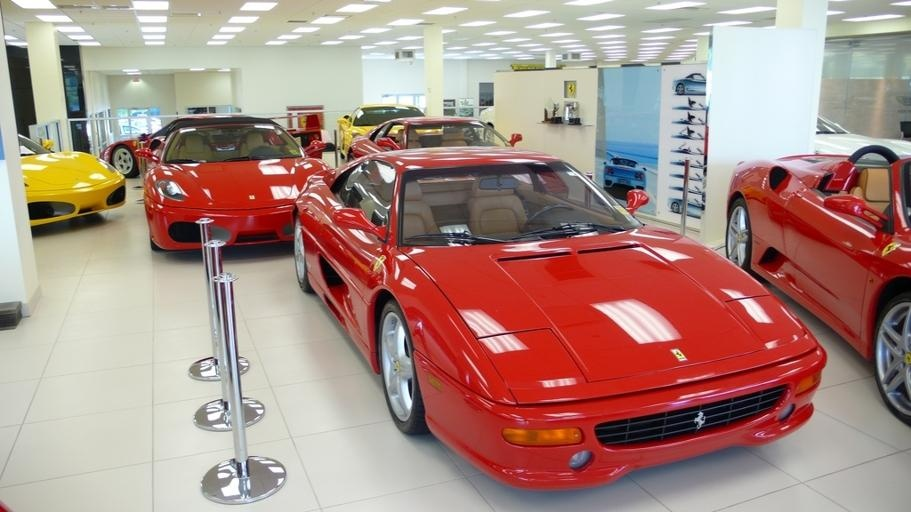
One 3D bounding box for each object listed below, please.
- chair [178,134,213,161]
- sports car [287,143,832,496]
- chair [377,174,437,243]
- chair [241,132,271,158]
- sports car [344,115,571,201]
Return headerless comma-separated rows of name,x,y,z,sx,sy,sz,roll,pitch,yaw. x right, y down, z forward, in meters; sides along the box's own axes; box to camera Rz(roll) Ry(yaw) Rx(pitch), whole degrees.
chair,-3.975,-1.672,7.418,0.440,0.519,0.481,-2,13,-20
sports car,0.569,0.246,3.726,2.229,1.947,3.441,-21,26,-40
chair,-0.361,-0.365,3.852,0.384,0.534,0.510,-6,0,-14
chair,-3.115,-1.748,7.596,0.542,0.455,0.448,-5,8,-19
sports car,-0.368,-1.777,9.353,2.236,0.904,3.383,-7,13,-30
